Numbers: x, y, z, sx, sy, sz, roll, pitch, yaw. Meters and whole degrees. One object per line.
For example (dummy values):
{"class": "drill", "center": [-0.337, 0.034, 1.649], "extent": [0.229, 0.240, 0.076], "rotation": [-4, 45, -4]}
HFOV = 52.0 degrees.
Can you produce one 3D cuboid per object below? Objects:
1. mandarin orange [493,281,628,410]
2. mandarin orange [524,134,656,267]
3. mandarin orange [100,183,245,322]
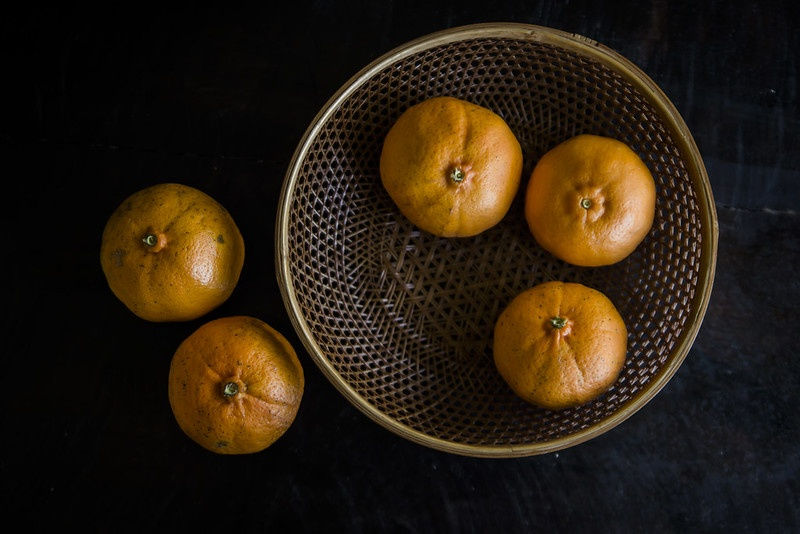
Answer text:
{"class": "mandarin orange", "center": [0.312, 0.138, 1.575], "extent": [0.233, 0.274, 0.241], "rotation": [18, -8, 18]}
{"class": "mandarin orange", "center": [0.352, -0.121, 1.535], "extent": [0.237, 0.226, 0.112], "rotation": [13, 20, 8]}
{"class": "mandarin orange", "center": [-0.417, -0.026, 1.625], "extent": [0.217, 0.261, 0.240], "rotation": [-22, 15, -1]}
